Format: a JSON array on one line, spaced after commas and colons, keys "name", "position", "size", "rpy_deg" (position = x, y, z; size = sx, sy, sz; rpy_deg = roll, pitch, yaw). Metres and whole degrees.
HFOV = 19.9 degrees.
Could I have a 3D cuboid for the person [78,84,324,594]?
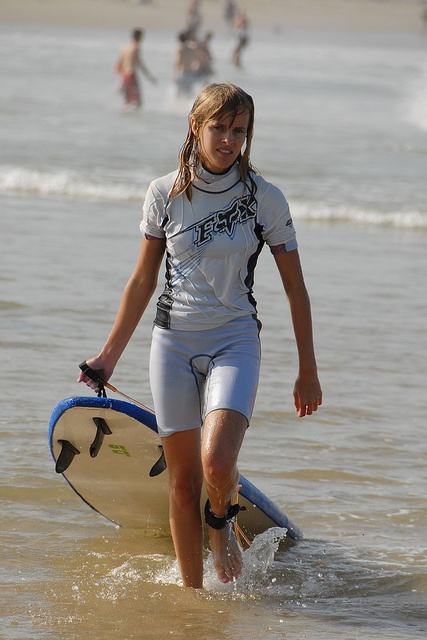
[{"name": "person", "position": [-0.004, 0.178, 5.416], "size": [0.672, 2.052, 1.018], "rpy_deg": [-12, 26, -42]}]
